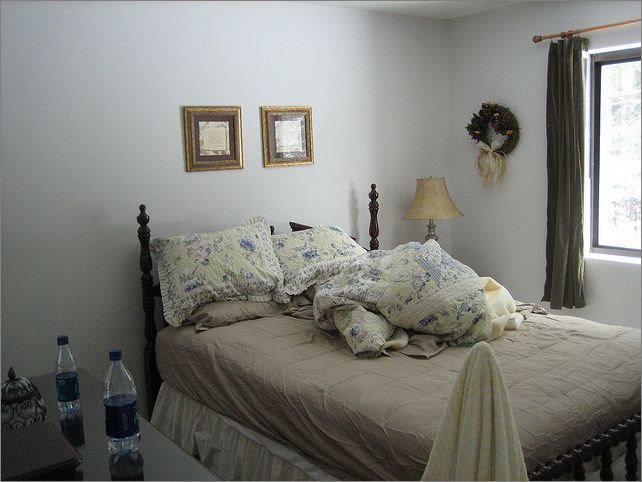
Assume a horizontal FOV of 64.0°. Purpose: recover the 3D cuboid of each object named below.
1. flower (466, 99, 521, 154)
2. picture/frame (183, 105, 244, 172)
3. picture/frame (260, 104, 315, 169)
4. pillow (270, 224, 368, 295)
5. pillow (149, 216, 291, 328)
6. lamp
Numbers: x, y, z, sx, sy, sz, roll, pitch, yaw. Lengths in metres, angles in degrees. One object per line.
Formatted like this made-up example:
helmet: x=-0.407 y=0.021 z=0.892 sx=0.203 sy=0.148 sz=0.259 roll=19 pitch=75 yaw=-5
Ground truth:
flower: x=1.567 y=-1.049 z=4.593 sx=0.409 sy=0.496 sz=0.139 roll=2 pitch=15 yaw=37
picture/frame: x=-0.816 y=-0.765 z=3.788 sx=0.448 sy=0.499 sz=0.034 roll=-5 pitch=6 yaw=-38
picture/frame: x=-0.286 y=-0.848 z=4.122 sx=0.467 sy=0.520 sz=0.034 roll=-6 pitch=8 yaw=-37
pillow: x=-0.010 y=0.088 z=3.601 sx=0.537 sy=0.144 sz=0.446 roll=-23 pitch=47 yaw=-29
pillow: x=-0.590 y=0.134 z=3.163 sx=0.668 sy=0.703 sz=0.180 roll=-13 pitch=-12 yaw=-25
lamp: x=1.015 y=-0.239 z=4.716 sx=0.525 sy=0.654 sz=0.570 roll=-9 pitch=10 yaw=-29
